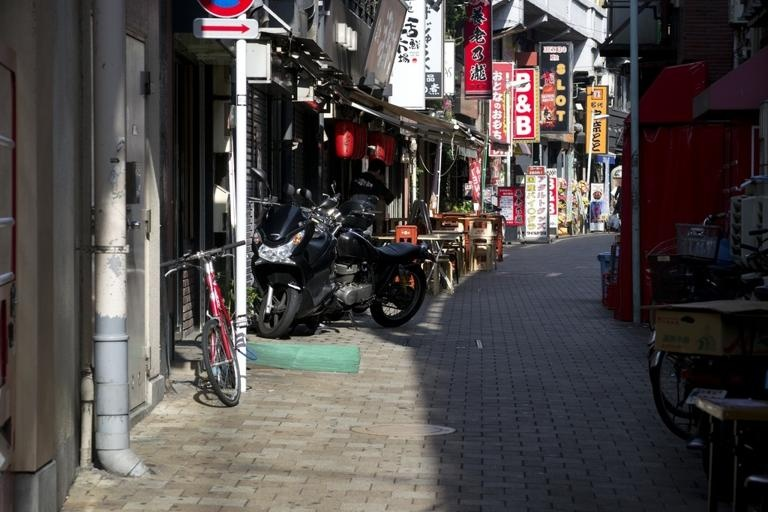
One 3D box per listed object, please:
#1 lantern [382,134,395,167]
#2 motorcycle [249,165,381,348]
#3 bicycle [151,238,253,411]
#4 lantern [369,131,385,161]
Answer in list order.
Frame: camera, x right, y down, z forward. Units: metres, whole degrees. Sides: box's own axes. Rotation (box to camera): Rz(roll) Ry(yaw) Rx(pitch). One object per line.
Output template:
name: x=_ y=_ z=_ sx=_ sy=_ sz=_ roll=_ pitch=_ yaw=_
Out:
lantern: x=0.122 y=-2.953 z=22.075 sx=0.217 sy=0.758 sz=0.553 roll=-4 pitch=0 yaw=17
motorcycle: x=-1.095 y=0.079 z=10.668 sx=0.825 sy=2.031 sz=1.690 roll=2 pitch=4 yaw=16
bicycle: x=-1.599 y=0.685 z=7.692 sx=0.494 sy=1.310 sz=1.997 roll=0 pitch=2 yaw=-19
lantern: x=-0.211 y=-2.973 z=21.400 sx=0.446 sy=0.818 sz=0.714 roll=1 pitch=4 yaw=1
